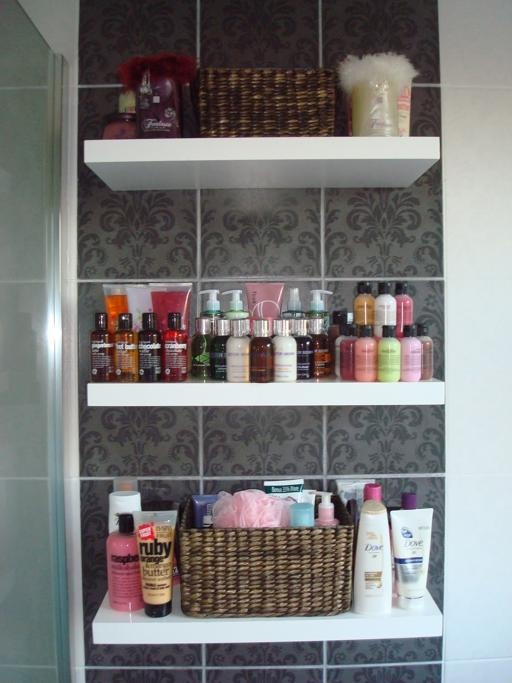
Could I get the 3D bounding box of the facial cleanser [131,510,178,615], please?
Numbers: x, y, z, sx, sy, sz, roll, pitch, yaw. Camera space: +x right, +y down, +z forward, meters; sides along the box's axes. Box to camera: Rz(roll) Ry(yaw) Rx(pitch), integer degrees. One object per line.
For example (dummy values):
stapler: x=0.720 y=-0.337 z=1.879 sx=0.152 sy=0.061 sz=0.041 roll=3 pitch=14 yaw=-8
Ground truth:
facial cleanser: x=-0.164 y=0.377 z=1.149 sx=0.095 sy=0.154 sz=0.087 roll=-3 pitch=3 yaw=-2

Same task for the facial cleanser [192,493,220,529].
facial cleanser: x=-0.094 y=0.316 z=1.224 sx=0.063 sy=0.070 sz=0.037 roll=0 pitch=-6 yaw=1

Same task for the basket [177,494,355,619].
basket: x=0.002 y=0.371 z=1.283 sx=0.370 sy=0.146 sz=0.273 roll=0 pitch=6 yaw=-5

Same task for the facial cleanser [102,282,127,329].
facial cleanser: x=-0.261 y=-0.061 z=1.258 sx=0.055 sy=0.082 sz=0.055 roll=-1 pitch=0 yaw=-9

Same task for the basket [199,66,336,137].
basket: x=0.015 y=-0.425 z=1.235 sx=0.242 sy=0.101 sz=0.132 roll=0 pitch=5 yaw=-1

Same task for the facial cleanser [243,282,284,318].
facial cleanser: x=0.015 y=-0.079 z=1.251 sx=0.094 sy=0.102 sz=0.061 roll=0 pitch=-2 yaw=-2

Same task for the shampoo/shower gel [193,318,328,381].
shampoo/shower gel: x=0.008 y=0.021 z=1.186 sx=0.303 sy=0.166 sz=0.086 roll=1 pitch=-2 yaw=0

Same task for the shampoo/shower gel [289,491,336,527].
shampoo/shower gel: x=0.099 y=0.302 z=1.198 sx=0.092 sy=0.080 sz=0.044 roll=0 pitch=-3 yaw=-14

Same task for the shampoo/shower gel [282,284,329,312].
shampoo/shower gel: x=0.093 y=-0.079 z=1.272 sx=0.103 sy=0.044 sz=0.042 roll=-1 pitch=1 yaw=0

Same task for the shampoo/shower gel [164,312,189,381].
shampoo/shower gel: x=-0.148 y=0.010 z=1.191 sx=0.051 sy=0.123 sz=0.050 roll=0 pitch=-3 yaw=7

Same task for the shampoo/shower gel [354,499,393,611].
shampoo/shower gel: x=0.204 y=0.373 z=1.166 sx=0.082 sy=0.166 sz=0.078 roll=-3 pitch=10 yaw=-6

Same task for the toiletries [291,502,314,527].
toiletries: x=0.080 y=0.307 z=1.171 sx=0.040 sy=0.035 sz=0.036 roll=0 pitch=2 yaw=-21

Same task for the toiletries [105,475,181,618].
toiletries: x=-0.173 y=0.384 z=1.191 sx=0.106 sy=0.175 sz=0.166 roll=-1 pitch=-2 yaw=0

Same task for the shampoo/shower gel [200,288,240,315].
shampoo/shower gel: x=-0.071 y=-0.075 z=1.276 sx=0.063 sy=0.038 sz=0.024 roll=0 pitch=-2 yaw=-2
